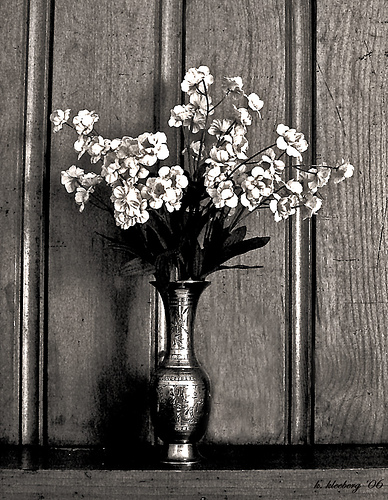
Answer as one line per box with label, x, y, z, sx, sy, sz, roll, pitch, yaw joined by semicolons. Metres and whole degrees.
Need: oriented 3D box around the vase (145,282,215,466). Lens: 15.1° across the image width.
vase;-0.017;0.167;2.018;0.084;0.252;0.067;1;-4;-6
